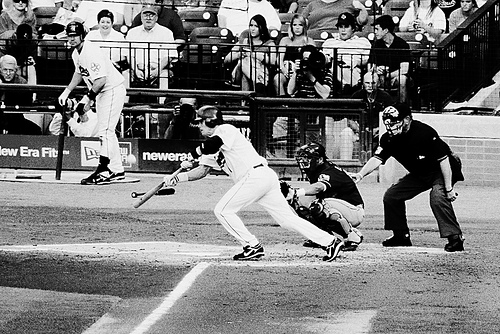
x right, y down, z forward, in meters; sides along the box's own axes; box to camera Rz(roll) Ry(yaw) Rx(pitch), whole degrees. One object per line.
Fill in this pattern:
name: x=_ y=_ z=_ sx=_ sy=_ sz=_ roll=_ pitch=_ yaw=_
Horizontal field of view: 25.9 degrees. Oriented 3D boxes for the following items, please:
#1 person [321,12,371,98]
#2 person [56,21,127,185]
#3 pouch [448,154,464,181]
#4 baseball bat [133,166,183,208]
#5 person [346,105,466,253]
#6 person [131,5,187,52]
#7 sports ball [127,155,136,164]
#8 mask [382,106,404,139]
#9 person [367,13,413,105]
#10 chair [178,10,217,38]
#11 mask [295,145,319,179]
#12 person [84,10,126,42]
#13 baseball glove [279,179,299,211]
person: x=2.014 y=-1.998 z=22.638 sx=1.085 sy=2.289 sz=0.924 roll=1 pitch=10 yaw=24
person: x=-3.097 y=-1.181 z=21.146 sx=1.081 sy=3.230 sz=1.464 roll=-8 pitch=17 yaw=-29
pouch: x=3.278 y=0.037 z=17.089 sx=0.182 sy=0.453 sz=0.342 roll=14 pitch=19 yaw=40
baseball bat: x=-1.632 y=0.401 z=19.541 sx=1.202 sy=0.157 sz=0.124 roll=-31 pitch=52 yaw=0
person: x=2.660 y=0.171 z=17.026 sx=1.580 sy=2.237 sz=0.961 roll=12 pitch=18 yaw=36
person: x=-1.967 y=-2.925 z=23.291 sx=1.540 sy=1.091 sz=0.734 roll=-1 pitch=-3 yaw=3
sports ball: x=-2.415 y=-0.127 z=22.167 sx=0.176 sy=0.183 sz=0.130 roll=1 pitch=14 yaw=1
mask: x=2.239 y=-0.664 z=16.886 sx=0.327 sy=0.522 sz=0.169 roll=5 pitch=15 yaw=13
person: x=2.885 y=-2.216 z=22.255 sx=0.919 sy=1.688 sz=0.748 roll=2 pitch=15 yaw=4
chair: x=-1.250 y=-3.373 z=25.172 sx=0.841 sy=0.443 sz=0.784 roll=-1 pitch=-2 yaw=-1
mask: x=0.943 y=-0.098 z=16.999 sx=0.522 sy=0.507 sz=0.471 roll=3 pitch=4 yaw=7
person: x=-3.081 y=-3.002 z=23.481 sx=1.177 sy=0.746 sz=0.499 roll=7 pitch=15 yaw=5
baseball glove: x=0.607 y=0.438 z=16.654 sx=0.219 sy=0.440 sz=0.327 roll=-31 pitch=32 yaw=-9
